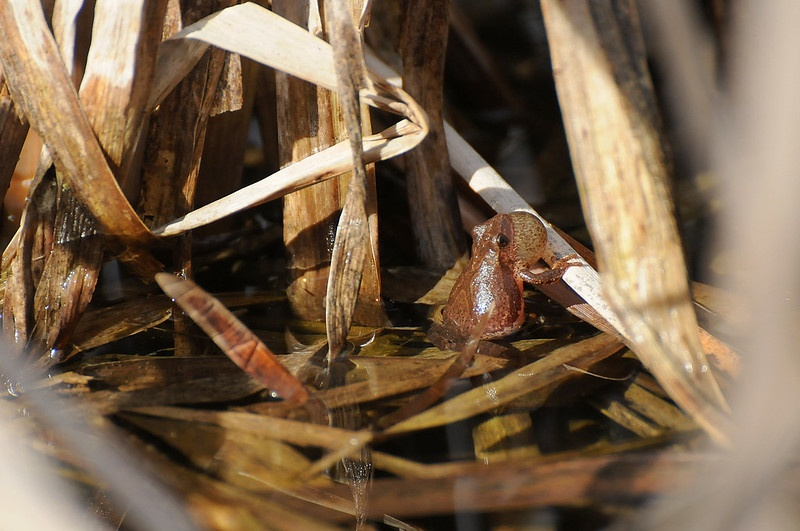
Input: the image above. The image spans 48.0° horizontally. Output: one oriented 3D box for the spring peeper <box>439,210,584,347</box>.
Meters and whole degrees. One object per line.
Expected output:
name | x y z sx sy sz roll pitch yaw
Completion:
spring peeper | 0.214 0.059 1.620 0.097 0.243 0.199 33 -7 -41
